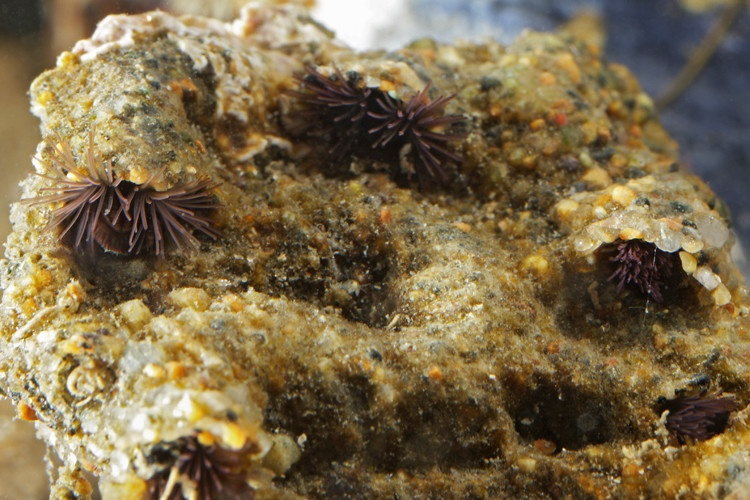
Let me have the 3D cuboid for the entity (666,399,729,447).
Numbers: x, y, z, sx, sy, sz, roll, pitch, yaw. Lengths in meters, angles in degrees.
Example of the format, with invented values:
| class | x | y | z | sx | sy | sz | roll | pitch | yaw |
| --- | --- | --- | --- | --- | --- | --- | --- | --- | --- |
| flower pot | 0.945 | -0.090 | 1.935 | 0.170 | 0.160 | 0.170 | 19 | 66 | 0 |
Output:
| class | x | y | z | sx | sy | sz | roll | pitch | yaw |
| --- | --- | --- | --- | --- | --- | --- | --- | --- | --- |
| entity | 2.348 | 1.247 | 7.248 | 0.493 | 0.182 | 0.288 | 1 | 55 | -5 |
